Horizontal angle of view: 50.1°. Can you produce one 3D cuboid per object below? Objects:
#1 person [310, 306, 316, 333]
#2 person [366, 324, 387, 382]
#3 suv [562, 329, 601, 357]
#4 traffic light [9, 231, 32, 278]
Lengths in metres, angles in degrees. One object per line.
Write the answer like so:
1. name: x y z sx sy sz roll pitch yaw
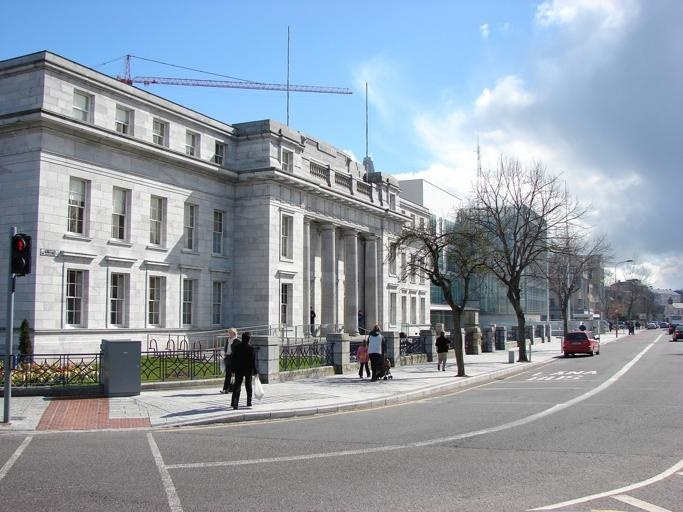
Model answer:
1. person: -1.902 4.321 47.660 0.359 1.803 1.111 -2 -11 -2
2. person: 1.411 3.967 29.449 0.720 2.149 1.219 -3 -10 1
3. suv: 15.112 5.615 46.235 1.821 1.641 2.912 -8 -12 25
4. traffic light: -8.597 -0.039 19.489 0.512 1.114 0.364 0 -11 -17
